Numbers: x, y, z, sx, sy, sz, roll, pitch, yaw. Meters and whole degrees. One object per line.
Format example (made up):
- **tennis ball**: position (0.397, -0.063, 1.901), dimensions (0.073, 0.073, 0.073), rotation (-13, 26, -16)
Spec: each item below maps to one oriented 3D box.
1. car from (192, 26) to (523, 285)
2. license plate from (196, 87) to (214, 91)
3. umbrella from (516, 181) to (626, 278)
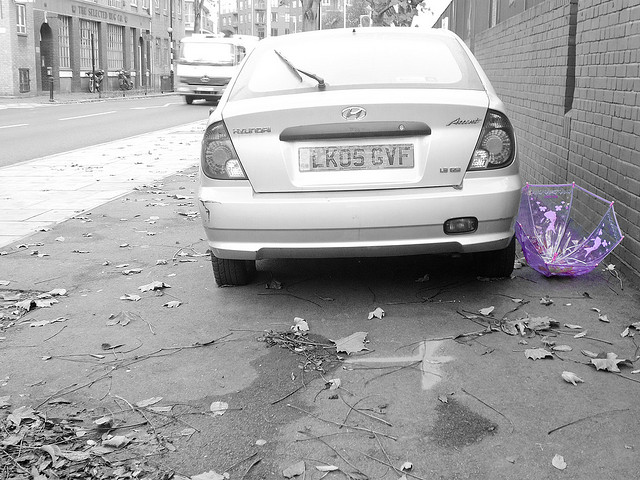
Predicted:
- **car**: position (0.331, -0.977, 4.484), dimensions (1.872, 1.221, 2.934), rotation (-1, 13, 2)
- **license plate**: position (-8.549, -11.157, 33.639), dimensions (1.276, 0.248, 0.241), rotation (3, 18, 15)
- **umbrella**: position (2.403, -0.049, 4.375), dimensions (1.149, 0.416, 0.998), rotation (3, 54, -11)
